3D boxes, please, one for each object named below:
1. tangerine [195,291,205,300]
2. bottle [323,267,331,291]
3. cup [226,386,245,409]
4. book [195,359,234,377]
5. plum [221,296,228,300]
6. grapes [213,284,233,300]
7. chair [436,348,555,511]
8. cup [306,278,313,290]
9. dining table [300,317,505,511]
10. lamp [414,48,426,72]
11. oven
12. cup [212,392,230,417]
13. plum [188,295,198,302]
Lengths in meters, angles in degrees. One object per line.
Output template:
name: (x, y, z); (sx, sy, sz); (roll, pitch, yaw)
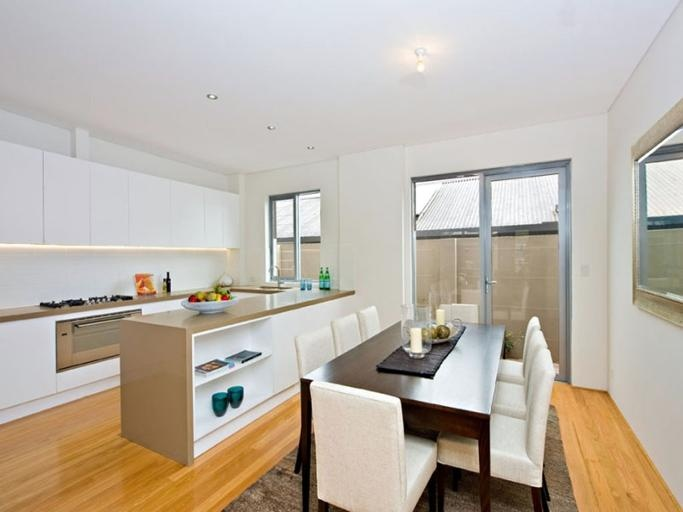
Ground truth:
tangerine: (-1.280, 0.356, 4.210); (0.079, 0.085, 0.078); (-3, 9, -44)
bottle: (-0.190, 0.298, 6.383); (0.100, 0.292, 0.232); (-3, 2, -2)
cup: (-0.945, 1.260, 4.166); (0.162, 0.208, 0.172); (-1, 0, 0)
book: (-1.146, 0.984, 4.119); (0.230, 0.071, 0.369); (-2, 1, 40)
plum: (-1.072, 0.383, 4.244); (0.033, 0.035, 0.034); (5, 10, 28)
grapes: (-1.290, 0.386, 5.019); (0.193, 0.105, 0.178); (2, -2, 44)
chair: (1.225, 1.387, 3.900); (0.944, 1.708, 1.124); (0, -3, 23)
cup: (-0.460, 0.394, 6.323); (0.105, 0.185, 0.106); (0, -5, 0)
dining table: (0.592, 0.578, 3.549); (0.977, 0.999, 1.997); (-1, 0, 23)
lamp: (0.669, -1.670, 3.937); (0.123, 0.184, 0.125); (-12, 17, -34)
oven: (-2.778, 0.835, 5.121); (0.527, 0.546, 0.832); (12, 11, 35)
cup: (-1.061, 1.291, 4.045); (0.167, 0.212, 0.175); (0, -8, 0)
plum: (-1.340, 0.382, 4.166); (0.058, 0.076, 0.058); (-19, 13, -34)
